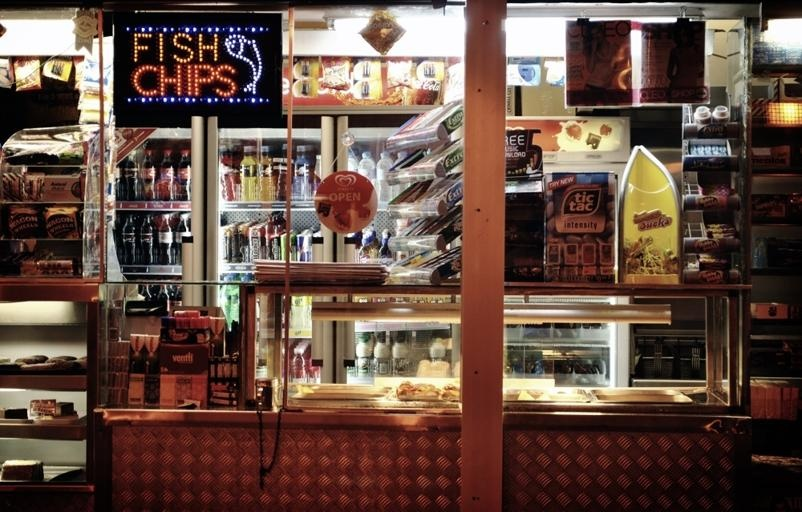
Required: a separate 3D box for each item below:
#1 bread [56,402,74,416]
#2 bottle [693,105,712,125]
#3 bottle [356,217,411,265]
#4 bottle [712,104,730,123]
[{"bbox_3d":[-2.505,1.136,7.409,0.095,0.060,0.097,1,5,-3],"label":"bread"},{"bbox_3d":[2.116,-0.992,6.982,0.118,0.115,0.121,0,7,4],"label":"bottle"},{"bbox_3d":[-0.145,-0.092,8.135,0.201,0.262,0.662,3,-1,-16],"label":"bottle"},{"bbox_3d":[2.241,-0.985,6.941,0.106,0.104,0.108,2,10,2],"label":"bottle"}]
